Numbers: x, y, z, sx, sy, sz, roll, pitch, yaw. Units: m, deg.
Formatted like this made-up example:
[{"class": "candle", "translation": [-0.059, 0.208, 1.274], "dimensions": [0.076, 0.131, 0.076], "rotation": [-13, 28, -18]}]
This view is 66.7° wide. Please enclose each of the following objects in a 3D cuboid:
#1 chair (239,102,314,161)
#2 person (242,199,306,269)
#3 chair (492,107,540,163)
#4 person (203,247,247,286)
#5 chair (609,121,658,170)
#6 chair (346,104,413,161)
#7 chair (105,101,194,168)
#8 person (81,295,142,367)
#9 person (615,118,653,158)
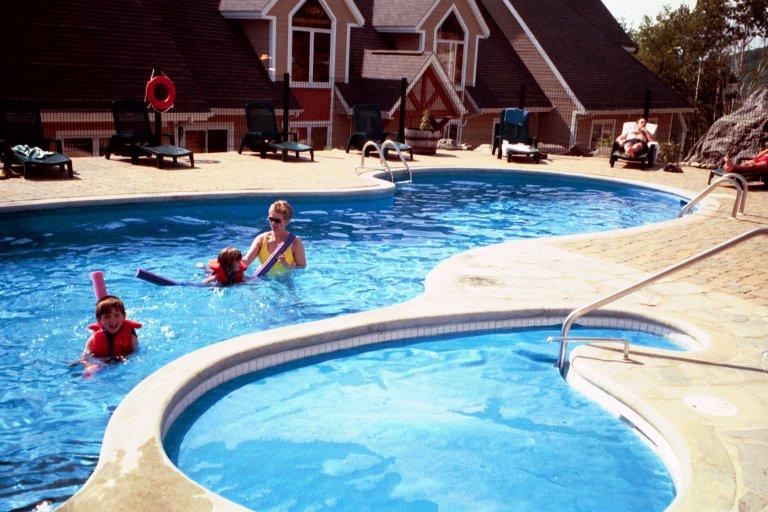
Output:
[{"class": "chair", "translation": [-3.381, -3.856, 18.119], "dimensions": [1.360, 1.731, 2.633], "rotation": [-8, 16, -34]}, {"class": "person", "translation": [-1.868, -0.205, 9.399], "dimensions": [1.129, 1.264, 0.875], "rotation": [-2, 11, -20]}, {"class": "chair", "translation": [4.852, -4.407, 21.354], "dimensions": [1.408, 1.678, 2.755], "rotation": [2, 16, 0]}, {"class": "person", "translation": [-2.520, 0.223, 9.372], "dimensions": [0.851, 0.530, 1.273], "rotation": [-6, -2, -26]}, {"class": "chair", "translation": [8.945, -4.031, 21.026], "dimensions": [1.385, 1.552, 2.434], "rotation": [11, 21, 30]}, {"class": "chair", "translation": [-0.334, -4.302, 20.100], "dimensions": [1.417, 1.668, 1.917], "rotation": [-5, 15, -24]}, {"class": "chair", "translation": [-6.443, -3.314, 15.986], "dimensions": [2.504, 1.630, 1.391], "rotation": [14, 19, 38]}, {"class": "person", "translation": [-3.296, 0.902, 7.019], "dimensions": [0.687, 0.787, 0.865], "rotation": [-3, 34, -21]}, {"class": "person", "translation": [8.978, -4.183, 20.962], "dimensions": [1.006, 0.738, 2.338], "rotation": [14, 45, 26]}]
